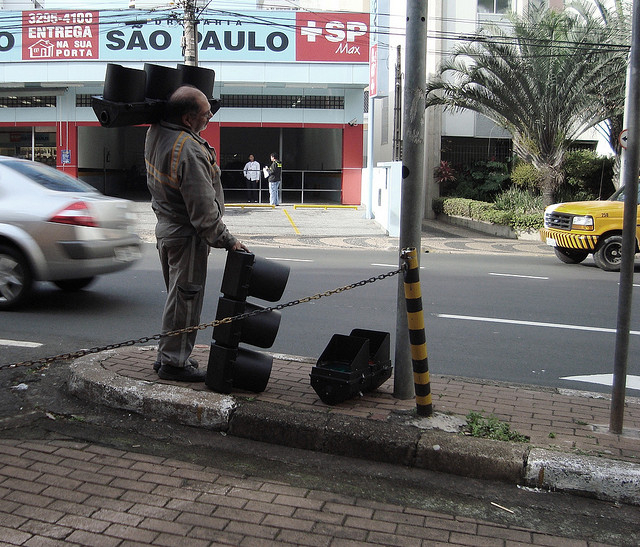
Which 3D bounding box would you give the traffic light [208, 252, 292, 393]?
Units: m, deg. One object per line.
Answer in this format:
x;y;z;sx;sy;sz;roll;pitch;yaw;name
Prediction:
-0.514;0.301;4.352;0.548;1.015;1.021;1;8;-2;traffic light

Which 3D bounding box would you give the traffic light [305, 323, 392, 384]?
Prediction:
0.203;0.536;4.141;0.372;0.379;0.577;0;-1;37;traffic light

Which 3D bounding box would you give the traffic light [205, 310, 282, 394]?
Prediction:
-0.516;0.513;4.079;0.362;0.668;0.342;8;6;-25;traffic light

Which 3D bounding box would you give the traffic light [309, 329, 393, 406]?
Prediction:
0.233;0.660;4.107;0.391;0.432;0.568;0;0;35;traffic light

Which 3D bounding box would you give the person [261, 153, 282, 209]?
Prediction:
-2.172;-4.193;26.011;0.630;2.373;1.322;1;8;1;person

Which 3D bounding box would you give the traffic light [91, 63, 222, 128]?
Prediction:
-1.198;-1.364;4.291;0.445;0.584;1.060;5;9;26;traffic light
